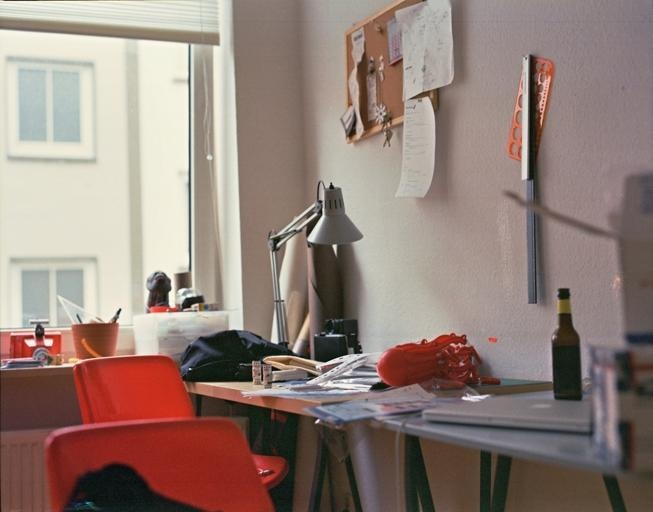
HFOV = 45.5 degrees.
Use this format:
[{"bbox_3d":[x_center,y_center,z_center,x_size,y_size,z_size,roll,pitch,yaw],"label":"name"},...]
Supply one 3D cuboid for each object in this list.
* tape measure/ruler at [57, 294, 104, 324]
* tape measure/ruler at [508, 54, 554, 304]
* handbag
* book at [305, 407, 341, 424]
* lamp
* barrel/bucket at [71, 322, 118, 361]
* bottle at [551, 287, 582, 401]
[{"bbox_3d":[-0.904,0.190,2.848,0.110,0.092,0.200,-3,1,-38],"label":"tape measure/ruler"},{"bbox_3d":[0.569,-0.211,2.132,0.050,0.681,0.130,-3,1,-22],"label":"tape measure/ruler"},{"bbox_3d":[-0.310,0.302,2.507,0.295,0.154,0.325,4,-3,-30],"label":"handbag"},{"bbox_3d":[-0.010,0.336,1.669,0.046,0.018,0.130,-3,1,-15],"label":"book"},{"bbox_3d":[-0.044,0.063,2.707,0.374,0.642,0.185,-3,1,35],"label":"lamp"},{"bbox_3d":[-0.826,0.303,2.791,0.136,0.117,0.133,-1,-5,0],"label":"barrel/bucket"},{"bbox_3d":[0.545,0.193,1.770,0.062,0.251,0.064,2,1,0],"label":"bottle"}]
